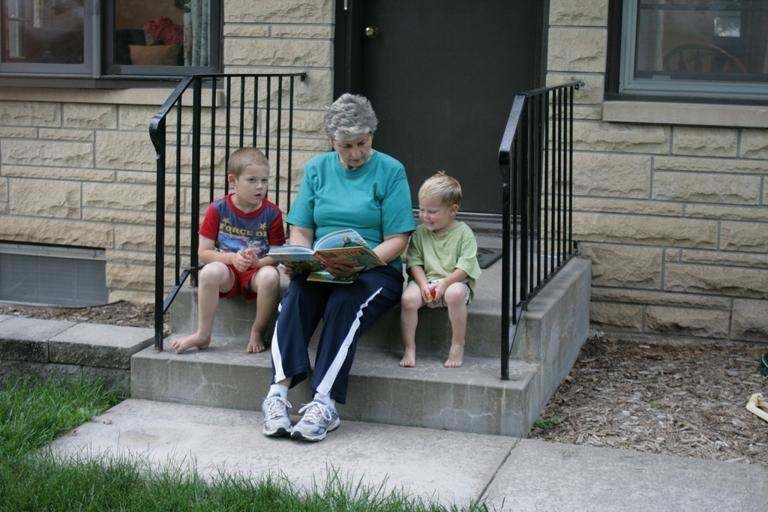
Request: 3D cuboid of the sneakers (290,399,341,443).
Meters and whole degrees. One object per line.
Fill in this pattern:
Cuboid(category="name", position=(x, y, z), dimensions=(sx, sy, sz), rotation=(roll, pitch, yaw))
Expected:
Cuboid(category="sneakers", position=(-0.379, 0.907, 4.711), dimensions=(0.148, 0.141, 0.313), rotation=(5, 7, 21))

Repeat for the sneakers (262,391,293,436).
Cuboid(category="sneakers", position=(-0.590, 0.884, 4.751), dimensions=(0.158, 0.230, 0.229), rotation=(1, 8, -8))
